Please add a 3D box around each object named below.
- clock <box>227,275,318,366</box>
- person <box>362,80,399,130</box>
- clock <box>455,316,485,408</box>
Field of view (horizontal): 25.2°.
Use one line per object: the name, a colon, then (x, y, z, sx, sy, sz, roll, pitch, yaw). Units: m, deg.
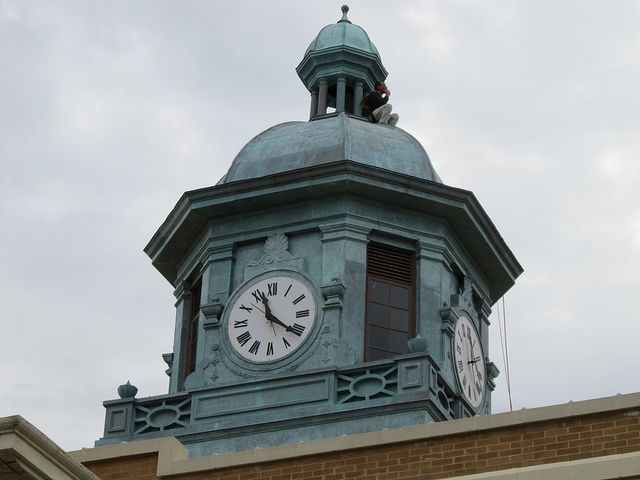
clock: (-0.944, 1.737, 29.572, 1.697, 1.859, 0.128, -6, -32, 17)
person: (1.504, -3.242, 35.162, 0.791, 1.347, 0.856, 14, -23, -34)
clock: (3.244, 2.639, 30.833, 0.149, 2.053, 1.946, -10, -4, 23)
